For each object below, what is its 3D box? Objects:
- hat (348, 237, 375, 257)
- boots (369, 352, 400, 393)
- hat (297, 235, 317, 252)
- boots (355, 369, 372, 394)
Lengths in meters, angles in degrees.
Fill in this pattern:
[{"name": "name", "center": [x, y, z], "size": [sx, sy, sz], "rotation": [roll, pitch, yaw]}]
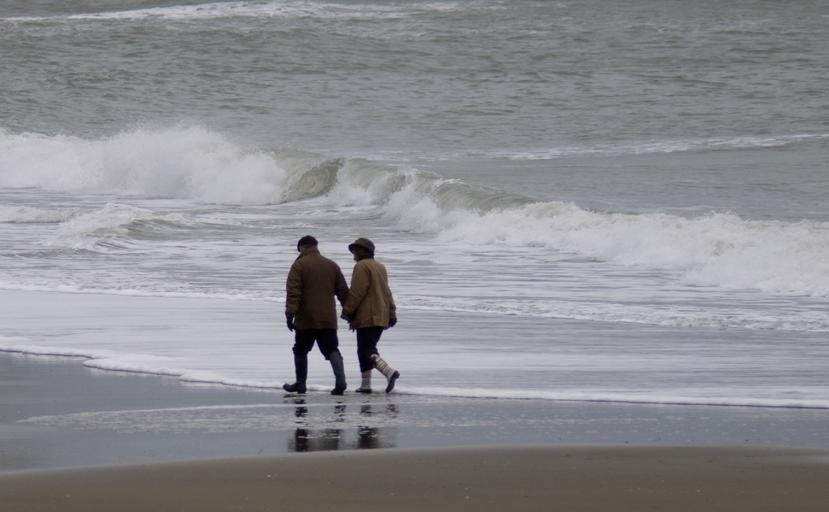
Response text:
[{"name": "hat", "center": [-1.582, -0.322, 57.479], "size": [0.896, 0.305, 0.723], "rotation": [8, -11, 12]}, {"name": "boots", "center": [-0.786, 3.764, 57.369], "size": [0.839, 1.211, 0.539], "rotation": [15, 19, 37]}, {"name": "hat", "center": [-3.266, -0.441, 57.760], "size": [0.706, 0.450, 0.667], "rotation": [0, 3, -13]}, {"name": "boots", "center": [-1.477, 4.046, 57.338], "size": [0.499, 0.739, 0.442], "rotation": [4, 15, 1]}]
